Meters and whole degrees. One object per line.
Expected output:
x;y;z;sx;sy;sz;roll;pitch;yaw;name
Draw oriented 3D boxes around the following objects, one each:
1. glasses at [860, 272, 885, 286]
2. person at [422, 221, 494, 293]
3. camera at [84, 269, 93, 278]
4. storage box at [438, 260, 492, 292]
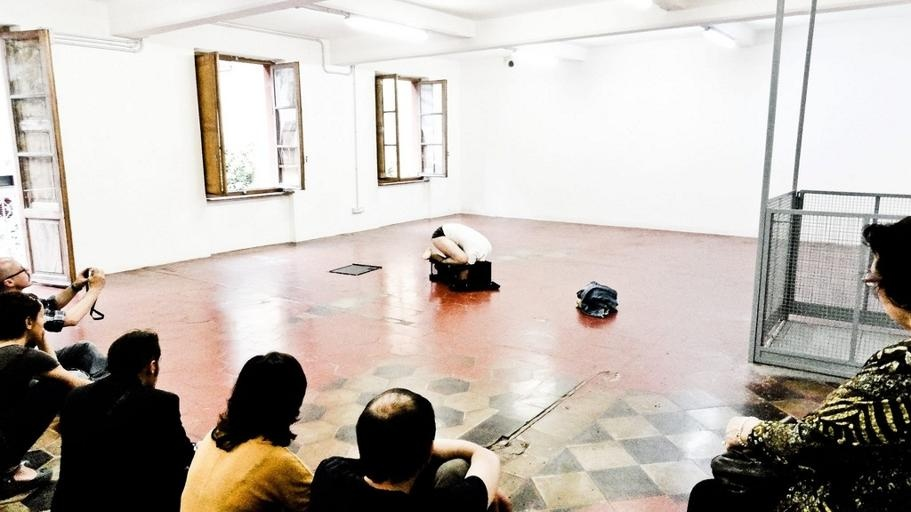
2.392;0.139;3.204;0.105;0.066;0.095;3;14;19;glasses
0.150;-0.008;8.618;0.988;0.780;1.171;-8;14;-38;person
-3.662;0.170;5.554;0.094;0.085;0.085;-10;18;-38;camera
0.182;0.295;8.313;0.528;0.268;0.687;-8;12;-35;storage box
